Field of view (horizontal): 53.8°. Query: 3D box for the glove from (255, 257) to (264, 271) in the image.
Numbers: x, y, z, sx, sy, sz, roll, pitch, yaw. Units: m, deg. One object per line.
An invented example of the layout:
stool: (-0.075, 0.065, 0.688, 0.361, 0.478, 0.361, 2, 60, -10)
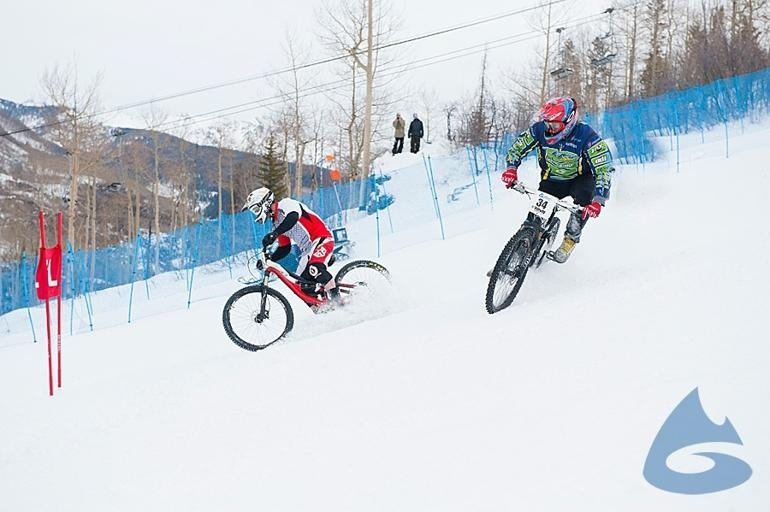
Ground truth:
glove: (-2.342, 0.159, 14.269, 0.149, 0.232, 0.322, -4, 7, -9)

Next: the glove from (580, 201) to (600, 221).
glove: (3.678, -0.801, 13.683, 0.283, 0.304, 0.124, -4, 17, -18)

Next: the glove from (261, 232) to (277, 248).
glove: (-2.165, -0.295, 14.226, 0.256, 0.285, 0.309, -4, 6, -11)

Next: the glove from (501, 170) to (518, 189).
glove: (2.314, -1.424, 14.233, 0.321, 0.344, 0.106, 35, -11, 13)

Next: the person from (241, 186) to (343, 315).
person: (-1.981, -0.032, 16.031, 1.384, 1.203, 2.599, -13, 53, -29)
